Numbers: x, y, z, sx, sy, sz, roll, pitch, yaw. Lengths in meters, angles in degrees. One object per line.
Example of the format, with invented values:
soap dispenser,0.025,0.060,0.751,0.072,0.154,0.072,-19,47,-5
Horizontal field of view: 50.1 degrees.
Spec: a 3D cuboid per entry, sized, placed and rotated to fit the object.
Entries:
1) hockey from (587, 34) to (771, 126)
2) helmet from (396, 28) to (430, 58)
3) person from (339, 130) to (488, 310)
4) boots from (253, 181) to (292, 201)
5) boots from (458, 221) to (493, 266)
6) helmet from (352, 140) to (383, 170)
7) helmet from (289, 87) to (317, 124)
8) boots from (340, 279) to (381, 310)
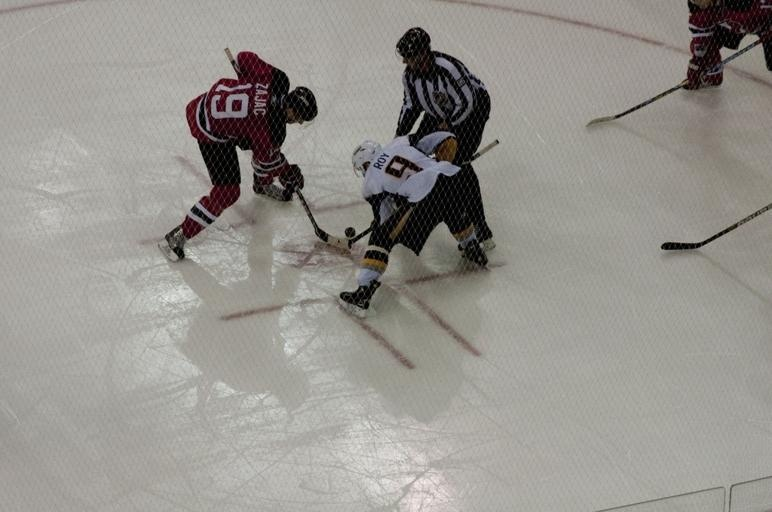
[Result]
hockey,2.388,-1.417,6.775,1.378,0.146,0.065,-32,86,-3
helmet,0.183,-1.398,5.396,0.215,0.162,0.197,3,102,20
person,0.112,-0.279,5.374,0.944,0.584,0.856,-22,73,-18
boots,-0.811,-0.441,5.833,0.212,0.139,0.076,24,87,-40
boots,0.602,-0.073,5.580,0.103,0.212,0.279,18,69,-47
helmet,-0.142,-0.668,5.561,0.188,0.201,0.155,17,21,-25
helmet,-0.493,-0.993,5.385,0.170,0.214,0.225,14,35,31
boots,-0.160,0.252,5.297,0.164,0.162,0.076,19,33,-8
